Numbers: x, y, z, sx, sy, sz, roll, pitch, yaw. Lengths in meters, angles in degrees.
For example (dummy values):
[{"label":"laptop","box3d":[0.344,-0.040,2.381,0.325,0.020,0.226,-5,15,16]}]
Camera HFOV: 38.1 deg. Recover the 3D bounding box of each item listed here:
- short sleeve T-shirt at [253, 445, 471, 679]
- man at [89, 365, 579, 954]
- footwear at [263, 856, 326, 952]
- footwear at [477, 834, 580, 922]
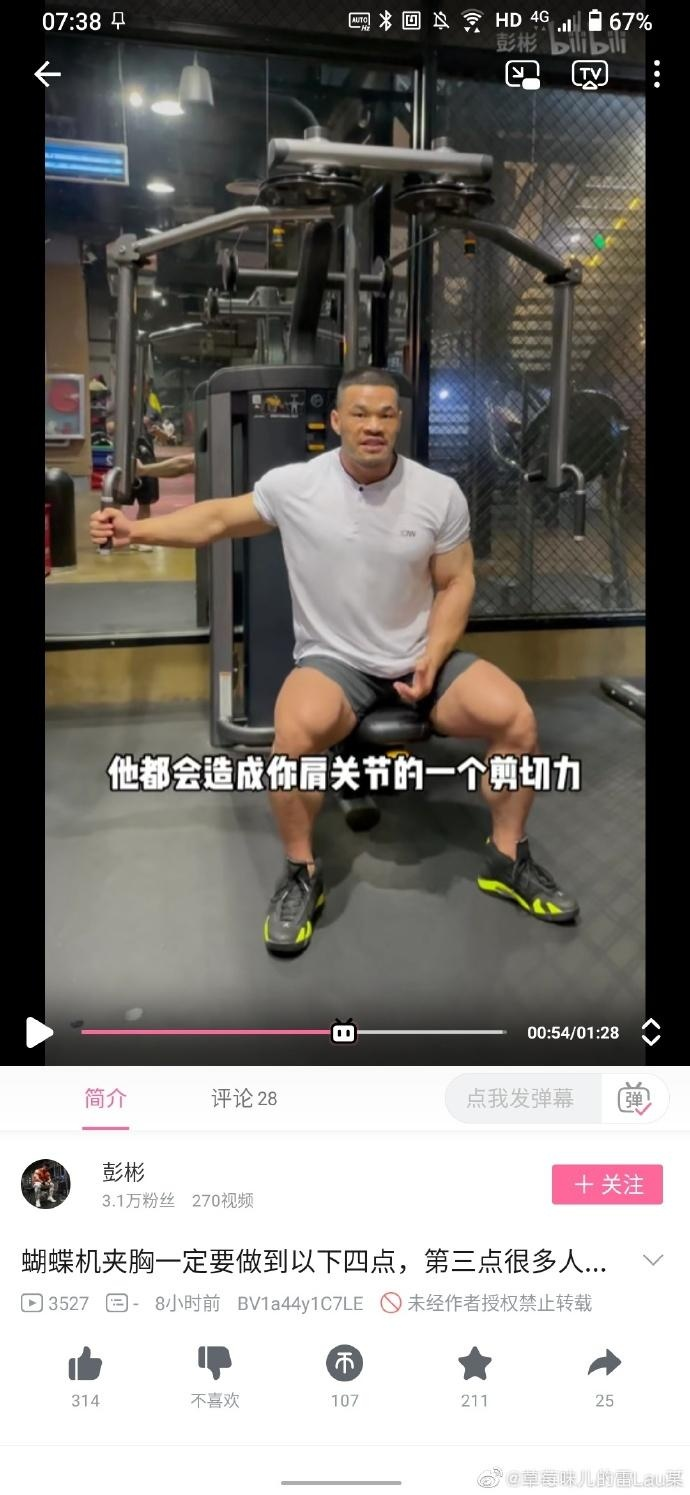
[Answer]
[{"label":"short sleeve T-shirt","box3d":[0.029,-0.353,1.766,0.354,0.400,0.248,5,52,7]},{"label":"man","box3d":[-0.005,-0.169,1.538,0.568,0.826,0.627,-2,11,-12]},{"label":"footwear","box3d":[-0.069,0.234,1.454,0.054,0.079,0.187,-9,15,16]},{"label":"footwear","box3d":[0.274,0.194,1.492,0.158,0.114,0.062,28,39,36]}]
